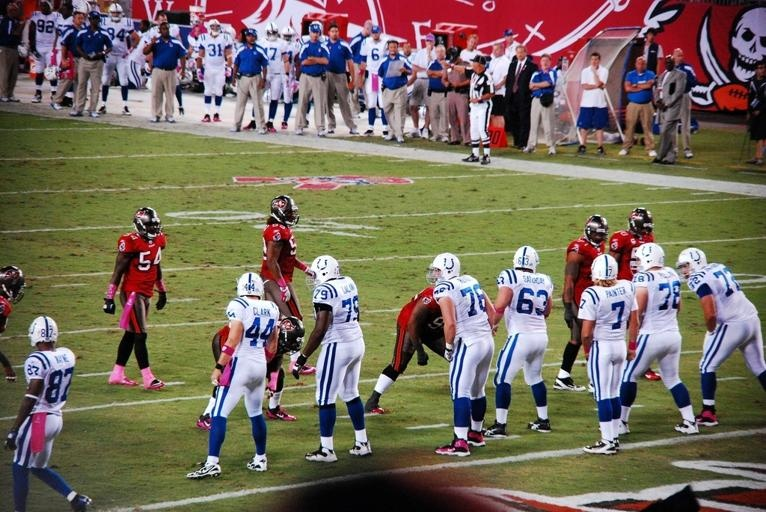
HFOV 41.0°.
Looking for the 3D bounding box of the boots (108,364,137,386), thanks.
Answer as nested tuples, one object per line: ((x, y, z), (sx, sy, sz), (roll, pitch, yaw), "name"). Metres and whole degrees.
((-2.870, 1.354, 11.496), (0.422, 0.259, 0.154), (2, 2, -9), "boots")

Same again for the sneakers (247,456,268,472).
((-1.205, 1.979, 9.807), (0.096, 0.112, 0.254), (-1, 10, -26), "sneakers")

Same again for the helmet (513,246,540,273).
((1.555, 0.019, 11.012), (0.263, 0.246, 0.316), (5, 15, 12), "helmet")

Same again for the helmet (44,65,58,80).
((-9.151, -5.059, 28.252), (0.411, 0.317, 0.368), (-24, 24, 3), "helmet")

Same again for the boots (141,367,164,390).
((-2.593, 1.364, 11.508), (0.240, 0.242, 0.319), (-1, 4, -31), "boots")

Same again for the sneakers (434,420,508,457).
((0.865, 1.869, 10.301), (0.638, 0.283, 0.197), (0, 6, -8), "sneakers")

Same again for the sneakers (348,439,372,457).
((-0.226, 1.901, 10.154), (0.108, 0.120, 0.281), (-5, 7, -30), "sneakers")

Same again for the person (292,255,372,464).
((-0.547, 1.039, 10.368), (0.806, 2.037, 0.786), (-1, -1, 25), "person")

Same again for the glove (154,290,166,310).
((-2.656, 0.537, 12.149), (0.080, 0.241, 0.167), (28, 22, 29), "glove")

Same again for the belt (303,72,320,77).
((-1.718, -4.397, 24.891), (0.352, 0.074, 0.073), (2, 3, 17), "belt")

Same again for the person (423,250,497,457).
((0.776, 0.995, 10.544), (0.742, 2.008, 0.842), (-1, -1, 36), "person")

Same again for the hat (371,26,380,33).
((-0.205, -5.769, 26.101), (0.179, 0.169, 0.181), (-2, 6, 30), "hat")

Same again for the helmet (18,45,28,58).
((-9.691, -5.510, 27.570), (0.197, 0.259, 0.251), (0, 3, -13), "helmet")

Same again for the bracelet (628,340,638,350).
((2.602, 0.939, 10.684), (0.091, 0.080, 0.087), (5, -4, 1), "bracelet")

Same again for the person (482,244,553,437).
((1.392, 0.924, 11.043), (0.819, 1.976, 0.816), (2, -2, -32), "person")

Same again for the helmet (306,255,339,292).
((-0.574, 0.141, 10.341), (0.367, 0.301, 0.270), (-5, 7, 24), "helmet")

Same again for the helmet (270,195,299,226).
((-1.214, -0.556, 12.128), (0.414, 0.364, 0.307), (6, 13, 5), "helmet")

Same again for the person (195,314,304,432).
((-1.446, 1.363, 11.124), (0.538, 1.001, 1.983), (25, -39, -33), "person")

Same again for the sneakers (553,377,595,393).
((2.255, 1.498, 11.990), (0.538, 0.209, 0.171), (-1, 4, -2), "sneakers")

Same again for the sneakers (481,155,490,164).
((2.296, -2.126, 22.704), (0.206, 0.177, 0.139), (-1, 7, -11), "sneakers")

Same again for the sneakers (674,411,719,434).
((3.348, 1.774, 10.906), (0.552, 0.231, 0.189), (-1, 3, -12), "sneakers")

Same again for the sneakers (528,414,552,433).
((1.666, 1.775, 10.890), (0.125, 0.128, 0.269), (-3, 7, -41), "sneakers")

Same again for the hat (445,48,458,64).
((1.669, -4.811, 24.536), (0.328, 0.388, 0.415), (6, 15, 18), "hat")

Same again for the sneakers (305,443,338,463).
((-0.589, 1.950, 10.051), (0.343, 0.156, 0.127), (1, -3, 17), "sneakers")

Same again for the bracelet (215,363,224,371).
((-1.551, 1.037, 9.693), (0.081, 0.061, 0.077), (7, 40, -44), "bracelet")

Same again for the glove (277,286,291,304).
((-1.141, 0.455, 11.919), (0.063, 0.169, 0.124), (-33, 12, -17), "glove")

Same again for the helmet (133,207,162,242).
((-2.691, -0.391, 11.714), (0.320, 0.330, 0.409), (-8, 31, -42), "helmet")

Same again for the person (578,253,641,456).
((2.265, 0.984, 10.462), (0.504, 1.965, 0.612), (2, 3, 21), "person")

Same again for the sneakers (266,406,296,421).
((-1.104, 1.685, 11.000), (0.379, 0.146, 0.128), (4, 4, -2), "sneakers")

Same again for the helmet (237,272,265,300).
((-1.287, 0.290, 10.002), (0.226, 0.223, 0.252), (1, 14, -6), "helmet")

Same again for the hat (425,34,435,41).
((1.198, -5.487, 25.816), (0.208, 0.244, 0.452), (1, 3, 2), "hat")

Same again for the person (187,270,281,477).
((-1.388, 1.124, 9.813), (0.913, 1.890, 0.457), (0, 3, -26), "person")

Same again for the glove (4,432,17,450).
((-3.332, 1.648, 9.202), (0.131, 0.160, 0.070), (8, 10, 1), "glove")

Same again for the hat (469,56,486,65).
((2.089, -4.258, 22.249), (0.245, 0.237, 0.431), (1, 3, 5), "hat")

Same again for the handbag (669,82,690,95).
((6.571, -3.734, 22.796), (0.336, 0.286, 0.433), (9, 32, 38), "handbag")

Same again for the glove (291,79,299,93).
((-2.337, -4.576, 27.580), (0.157, 0.405, 0.308), (9, 4, -15), "glove")

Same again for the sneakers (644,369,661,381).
((3.289, 1.460, 12.560), (0.122, 0.089, 0.224), (-7, 5, -25), "sneakers")
